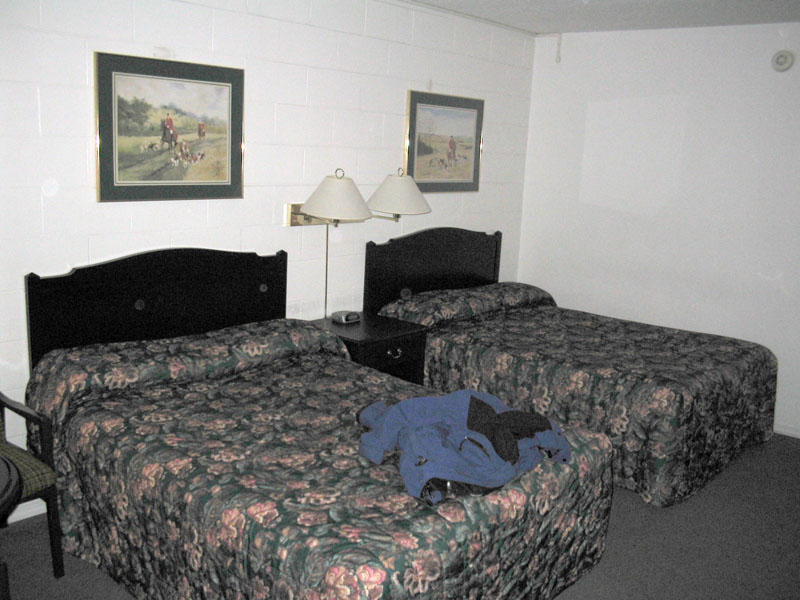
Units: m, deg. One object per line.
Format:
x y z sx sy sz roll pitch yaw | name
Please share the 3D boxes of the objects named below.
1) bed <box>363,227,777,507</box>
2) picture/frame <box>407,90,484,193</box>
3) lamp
1.090 0.707 4.629 1.865 1.420 2.589 -17 24 -38 | bed
0.364 -1.397 5.054 0.963 0.889 0.072 -10 15 -44 | picture/frame
-0.306 -0.718 4.206 0.892 0.407 0.588 -10 16 -35 | lamp
